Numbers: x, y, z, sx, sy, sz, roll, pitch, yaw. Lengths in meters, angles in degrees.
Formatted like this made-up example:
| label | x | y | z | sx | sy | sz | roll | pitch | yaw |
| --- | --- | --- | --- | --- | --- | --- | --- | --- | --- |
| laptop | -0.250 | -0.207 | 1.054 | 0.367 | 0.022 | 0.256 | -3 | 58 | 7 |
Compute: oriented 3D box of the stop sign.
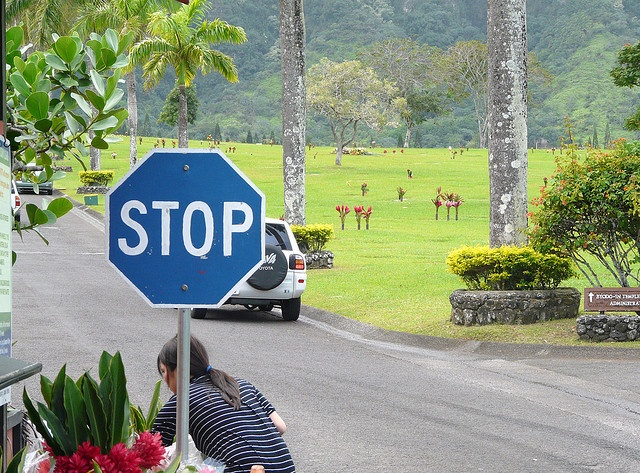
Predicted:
| label | x | y | z | sx | sy | sz | roll | pitch | yaw |
| --- | --- | --- | --- | --- | --- | --- | --- | --- | --- |
| stop sign | -1.100 | -0.074 | 7.655 | 1.296 | 1.298 | 0.244 | 2 | 6 | -1 |
